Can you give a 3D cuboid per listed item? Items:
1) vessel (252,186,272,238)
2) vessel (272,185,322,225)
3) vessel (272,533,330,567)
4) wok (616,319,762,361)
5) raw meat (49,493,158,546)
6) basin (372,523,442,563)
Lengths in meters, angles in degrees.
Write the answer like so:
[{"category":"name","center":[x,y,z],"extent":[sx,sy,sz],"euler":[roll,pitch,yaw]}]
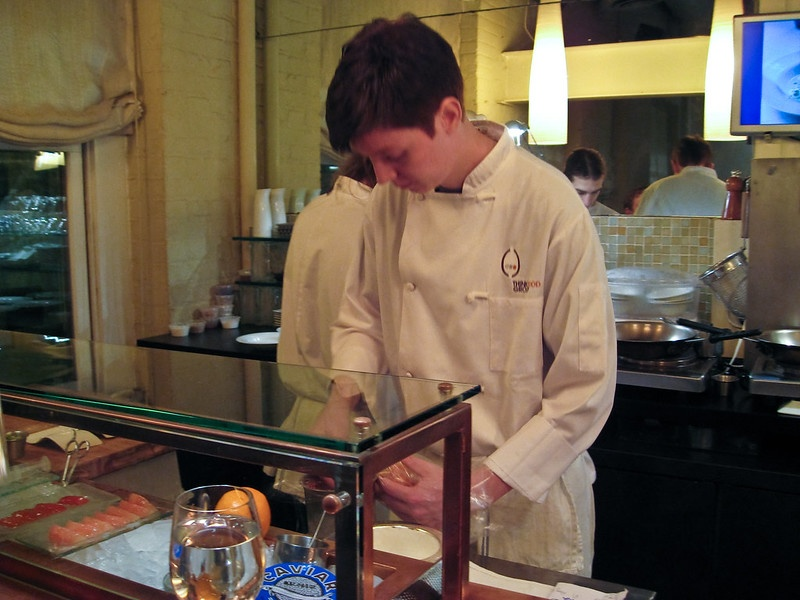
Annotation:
[{"category":"vessel","center":[-0.777,-0.500,4.162],"extent":[0.125,0.273,0.117],"euler":[-3,12,-11]},{"category":"vessel","center":[-0.596,-0.562,4.266],"extent":[0.276,0.243,0.256],"euler":[0,9,-4]},{"category":"vessel","center":[-0.163,0.419,1.228],"extent":[0.073,0.046,0.055],"euler":[24,-20,-38]},{"category":"wok","center":[0.983,0.135,2.574],"extent":[0.349,0.050,0.217],"euler":[3,7,37]},{"category":"raw meat","center":[-0.535,0.396,1.316],"extent":[0.155,0.037,0.085],"euler":[-24,11,-19]},{"category":"basin","center":[0.014,0.417,1.258],"extent":[0.103,0.055,0.095],"euler":[4,8,-1]}]
